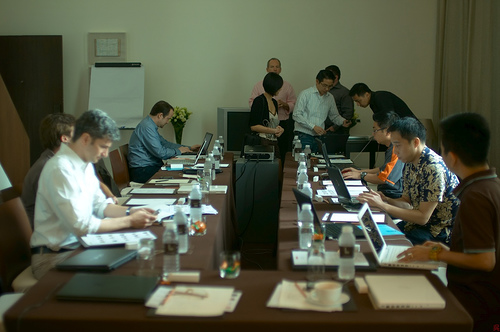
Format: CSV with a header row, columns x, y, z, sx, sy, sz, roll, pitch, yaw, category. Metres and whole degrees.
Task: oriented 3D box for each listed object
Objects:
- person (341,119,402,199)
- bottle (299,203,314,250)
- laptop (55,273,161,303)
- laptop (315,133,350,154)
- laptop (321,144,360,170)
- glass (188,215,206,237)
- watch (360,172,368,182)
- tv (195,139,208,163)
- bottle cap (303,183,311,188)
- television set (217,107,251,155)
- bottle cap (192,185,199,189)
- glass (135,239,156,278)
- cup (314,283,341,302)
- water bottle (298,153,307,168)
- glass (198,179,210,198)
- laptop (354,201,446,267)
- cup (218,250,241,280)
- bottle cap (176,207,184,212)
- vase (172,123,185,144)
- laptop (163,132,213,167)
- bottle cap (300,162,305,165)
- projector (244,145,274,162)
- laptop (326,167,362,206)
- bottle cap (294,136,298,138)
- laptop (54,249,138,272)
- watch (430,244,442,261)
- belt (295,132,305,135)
x,y,z,sx,sy,sz,roll,pitch,yaw,category
1.146,0.052,4.058,0.636,0.495,0.992,0,10,13,person
0.354,0.352,2.527,0.090,0.255,0.249,1,17,7,bottle
-0.720,0.623,2.055,0.417,0.048,0.574,0,-3,-3,laptop
1.097,-0.310,5.260,0.343,0.261,0.302,-2,14,-9,laptop
0.917,-0.057,4.297,0.311,0.253,0.374,-3,9,0,laptop
-0.349,0.400,2.707,0.115,0.136,0.118,0,-1,-3,glass
1.163,0.104,4.162,0.060,0.100,0.091,1,-27,10,watch
-0.563,-0.190,4.621,0.182,0.175,0.257,17,7,-3,tv
0.462,0.148,3.237,0.036,0.039,0.069,5,6,20,bottle cap
-0.217,-0.516,5.887,0.404,0.618,0.374,3,17,11,television set
-0.379,0.142,2.780,0.031,0.024,0.032,2,9,7,bottle cap
-0.560,0.500,2.257,0.166,0.194,0.173,1,5,4,glass
0.377,0.608,1.959,0.094,0.067,0.079,-3,7,7,cup
0.584,-0.046,4.473,0.102,0.108,0.197,-5,5,7,water bottle
-0.403,0.203,3.590,0.100,0.051,0.254,2,28,-2,glass
0.892,0.467,2.384,0.417,0.281,0.456,-4,11,8,laptop
-0.104,0.534,2.245,0.133,0.156,0.141,0,4,0,cup
-0.425,0.264,2.432,0.032,0.025,0.033,1,6,-3,bottle cap
-1.173,-0.527,6.678,0.269,0.336,0.278,-1,5,-3,vase
-0.735,-0.156,4.957,0.420,0.308,0.504,1,8,1,laptop
0.482,-0.029,3.714,0.026,0.017,0.027,1,4,8,bottle cap
0.107,-0.164,4.743,0.346,0.120,0.341,-1,18,0,projector
0.744,0.170,3.300,0.246,0.255,0.314,-4,11,-16,laptop
0.615,-0.393,5.356,0.046,0.034,0.033,1,0,3,bottle cap
-0.891,0.544,2.369,0.399,0.054,0.435,-4,5,-5,laptop
1.056,0.489,2.298,0.032,0.083,0.059,5,6,-29,watch
0.711,-0.473,5.725,0.019,0.050,0.174,-15,23,-40,belt
